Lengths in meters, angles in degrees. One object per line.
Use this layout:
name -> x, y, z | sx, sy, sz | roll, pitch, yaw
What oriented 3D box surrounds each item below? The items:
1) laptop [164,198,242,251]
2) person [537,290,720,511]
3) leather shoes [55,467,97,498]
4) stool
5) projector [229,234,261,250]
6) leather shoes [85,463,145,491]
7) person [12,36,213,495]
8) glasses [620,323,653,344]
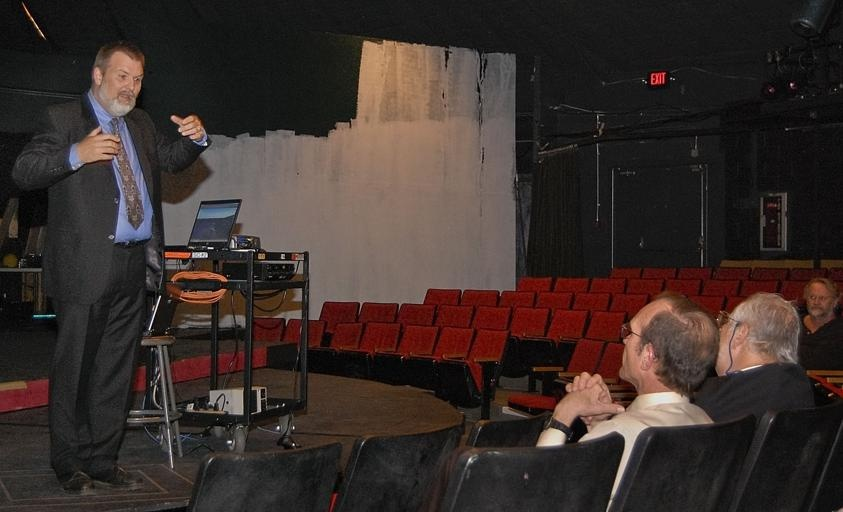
laptop -> -1.451, -0.208, 5.177 | 0.422, 0.296, 0.363 | 2, -2, 35
person -> 1.039, 0.658, 3.704 | 0.853, 0.929, 0.489 | 0, 3, 4
leather shoes -> -1.906, 1.246, 4.287 | 0.114, 0.066, 0.170 | 0, 9, -34
stool -> -1.764, 0.875, 4.933 | 0.511, 0.691, 0.505 | -1, -2, 9
projector -> -1.187, -0.089, 5.212 | 0.140, 0.065, 0.133 | 4, -4, -17
leather shoes -> -1.726, 1.241, 4.381 | 0.277, 0.126, 0.121 | 0, -1, -11
person -> -1.843, 0.050, 4.371 | 0.741, 2.485, 0.357 | -2, 4, -27
glasses -> 1.066, 0.389, 3.843 | 0.101, 0.034, 0.098 | 28, 6, 8
